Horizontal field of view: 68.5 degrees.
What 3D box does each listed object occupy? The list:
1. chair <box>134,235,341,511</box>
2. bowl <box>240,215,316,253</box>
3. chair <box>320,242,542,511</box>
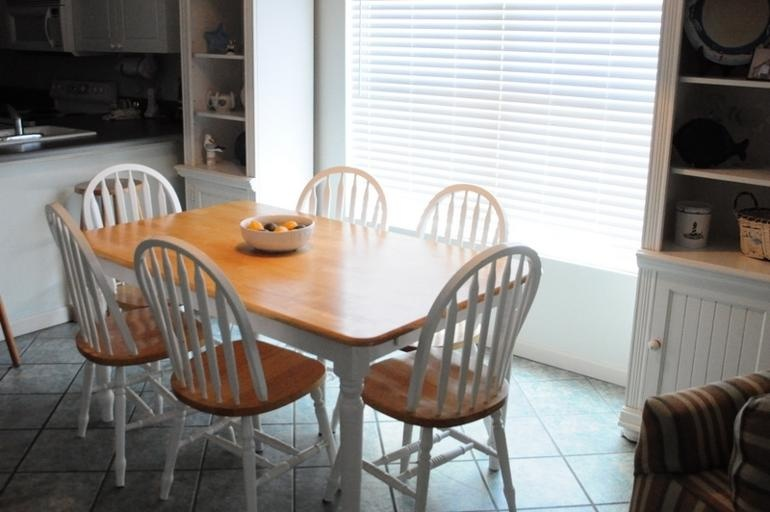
[{"bbox_3d":[-0.695,0.483,2.440,0.806,1.291,0.583,19,27,38],"label":"chair"},{"bbox_3d":[-0.521,-0.107,2.765,0.353,0.137,0.343,0,15,0],"label":"bowl"},{"bbox_3d":[0.275,0.521,2.412,0.690,1.293,0.825,7,22,14],"label":"chair"}]
